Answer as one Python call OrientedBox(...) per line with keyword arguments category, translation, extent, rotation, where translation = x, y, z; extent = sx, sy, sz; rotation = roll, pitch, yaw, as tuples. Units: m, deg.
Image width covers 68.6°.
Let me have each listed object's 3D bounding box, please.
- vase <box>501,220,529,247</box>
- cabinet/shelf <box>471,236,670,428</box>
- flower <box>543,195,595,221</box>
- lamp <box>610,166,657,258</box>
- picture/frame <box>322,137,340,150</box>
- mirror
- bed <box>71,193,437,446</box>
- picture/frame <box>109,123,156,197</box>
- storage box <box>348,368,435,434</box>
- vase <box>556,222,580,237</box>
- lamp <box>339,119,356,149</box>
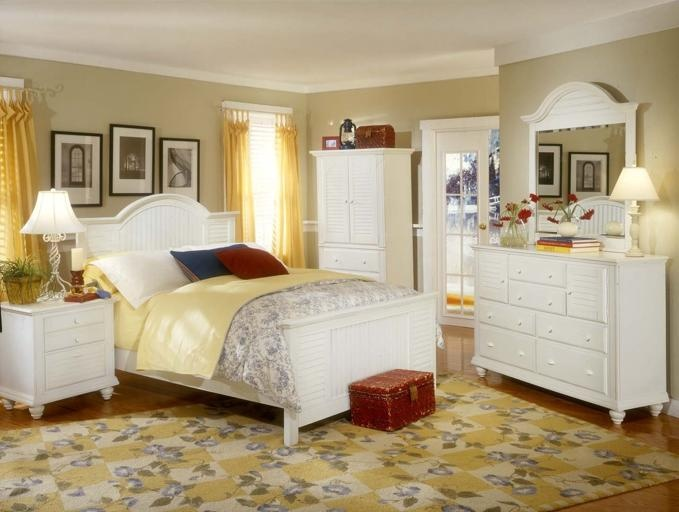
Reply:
OrientedBox(category="vase", translation=(1.589, -0.203, 4.542), extent=(0.270, 0.273, 0.262), rotation=(-1, 2, -44))
OrientedBox(category="cabinet/shelf", translation=(1.810, 0.591, 3.783), extent=(0.559, 1.075, 1.348), rotation=(0, 3, -25))
OrientedBox(category="flower", translation=(1.990, -0.412, 4.262), extent=(0.264, 0.133, 0.303), rotation=(1, -1, 28))
OrientedBox(category="lamp", translation=(2.209, -0.345, 3.719), extent=(0.292, 0.684, 0.367), rotation=(2, 5, 32))
OrientedBox(category="picture/frame", translation=(-0.097, -1.447, 6.416), extent=(0.211, 0.174, 0.020), rotation=(3, 9, 22))
OrientedBox(category="mirror", translation=(2.042, -0.661, 4.146), extent=(0.057, 1.151, 1.028), rotation=(-1, 2, -32))
OrientedBox(category="bed", translation=(-0.824, 0.334, 4.343), extent=(2.737, 1.698, 1.900), rotation=(4, 8, 39))
OrientedBox(category="picture/frame", translation=(-2.223, -1.029, 5.373), extent=(0.524, 0.735, 0.031), rotation=(3, 5, 8))
OrientedBox(category="storage box", translation=(0.319, 0.910, 3.506), extent=(0.353, 0.259, 0.552), rotation=(-1, 1, 38))
OrientedBox(category="vase", translation=(1.877, -0.218, 4.092), extent=(0.130, 0.083, 0.126), rotation=(-2, 5, -8))
OrientedBox(category="lamp", translation=(0.108, -1.530, 6.280), extent=(0.204, 0.380, 0.186), rotation=(-1, 4, 0))
